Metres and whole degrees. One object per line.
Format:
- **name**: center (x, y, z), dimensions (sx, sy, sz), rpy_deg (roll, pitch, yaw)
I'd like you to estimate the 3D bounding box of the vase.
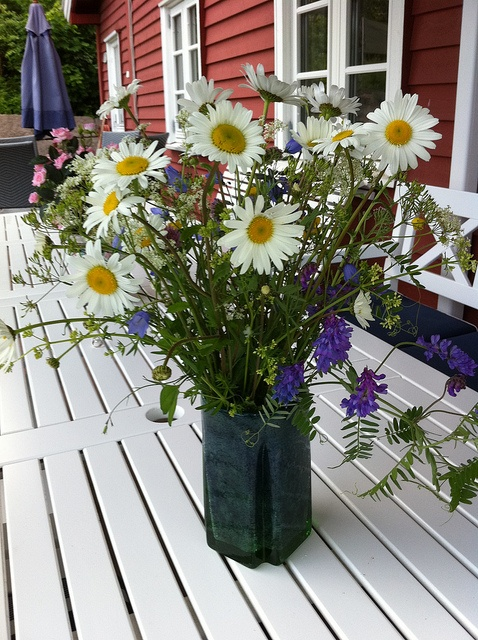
- **vase**: center (0.024, 0.213, 0.601), dimensions (0.131, 0.184, 0.125), rpy_deg (-2, 1, -7)
